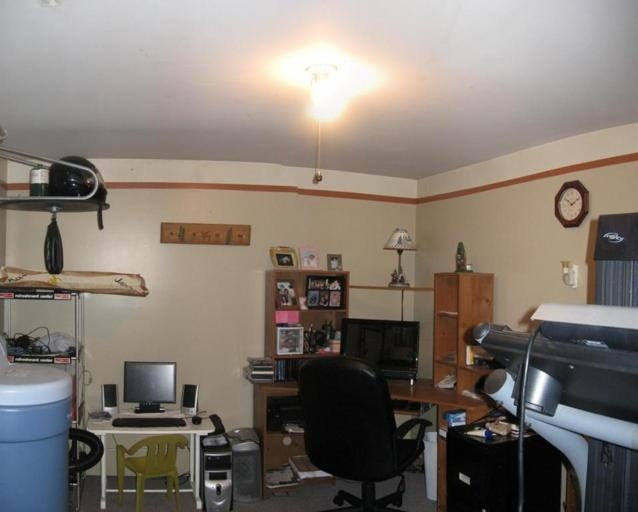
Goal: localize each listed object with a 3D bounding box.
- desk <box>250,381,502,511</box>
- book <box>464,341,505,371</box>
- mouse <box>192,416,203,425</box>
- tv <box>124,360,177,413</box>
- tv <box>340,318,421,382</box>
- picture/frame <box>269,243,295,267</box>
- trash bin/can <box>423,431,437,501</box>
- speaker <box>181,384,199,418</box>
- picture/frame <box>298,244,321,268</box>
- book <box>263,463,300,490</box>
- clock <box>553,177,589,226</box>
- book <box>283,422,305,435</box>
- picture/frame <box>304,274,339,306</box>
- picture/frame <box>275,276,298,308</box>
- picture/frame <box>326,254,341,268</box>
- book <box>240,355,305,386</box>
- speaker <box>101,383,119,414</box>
[{"bbox_3d":[0.331,1.349,4.736,1.197,0.823,1.248,1,-5,-18],"label":"desk"},{"bbox_3d":[1.335,0.817,4.585,0.160,0.182,0.307,1,-3,-32],"label":"book"},{"bbox_3d":[-1.002,1.348,4.646,0.059,0.064,0.068,5,-7,-23],"label":"mouse"},{"bbox_3d":[-1.472,1.129,4.887,0.396,0.431,0.145,1,-7,-7],"label":"tv"},{"bbox_3d":[0.555,0.703,5.158,0.833,0.693,0.456,2,-2,9],"label":"tv"},{"bbox_3d":[-0.361,0.002,5.371,0.181,0.188,0.083,7,-36,-23],"label":"picture/frame"},{"bbox_3d":[0.935,1.763,4.710,0.100,0.527,0.169,-1,-2,10],"label":"trash bin/can"},{"bbox_3d":[-1.129,1.252,4.908,0.140,0.248,0.204,0,-3,-19],"label":"speaker"},{"bbox_3d":[-0.108,0.004,5.490,0.189,0.229,0.029,13,-35,-25],"label":"picture/frame"},{"bbox_3d":[-0.323,1.898,4.811,0.204,0.067,0.158,1,32,-21],"label":"book"},{"bbox_3d":[1.918,-0.410,4.253,0.036,0.394,0.362,2,-2,-17],"label":"clock"},{"bbox_3d":[-0.222,1.495,4.881,0.125,0.050,0.101,1,-1,-13],"label":"book"},{"bbox_3d":[0.043,0.347,5.379,0.292,0.301,0.071,4,-8,-11],"label":"picture/frame"},{"bbox_3d":[-0.314,0.345,5.261,0.258,0.318,0.030,8,-27,-35],"label":"picture/frame"},{"bbox_3d":[0.143,0.050,5.613,0.107,0.106,0.012,-12,-8,-35],"label":"picture/frame"},{"bbox_3d":[-0.442,1.037,5.172,0.643,0.255,0.374,-2,-3,13],"label":"book"},{"bbox_3d":[-1.822,1.237,4.890,0.134,0.239,0.224,0,-3,-21],"label":"speaker"}]
